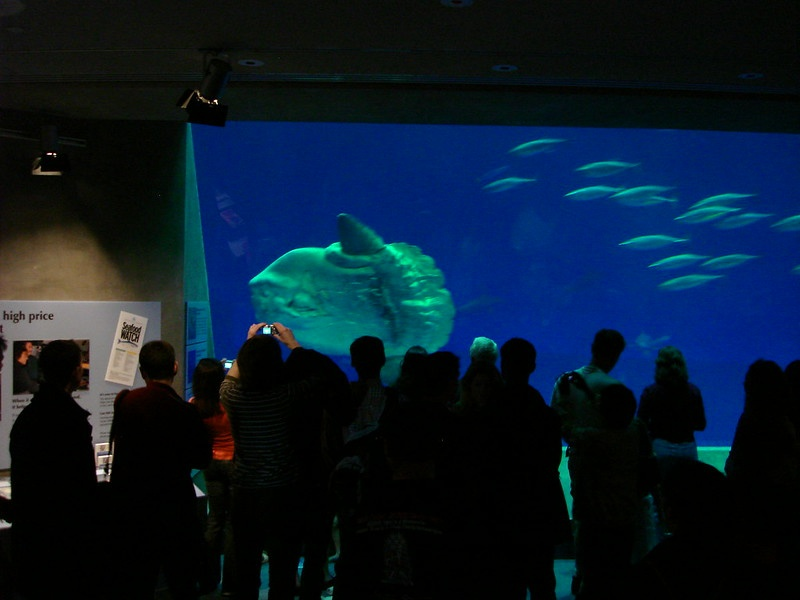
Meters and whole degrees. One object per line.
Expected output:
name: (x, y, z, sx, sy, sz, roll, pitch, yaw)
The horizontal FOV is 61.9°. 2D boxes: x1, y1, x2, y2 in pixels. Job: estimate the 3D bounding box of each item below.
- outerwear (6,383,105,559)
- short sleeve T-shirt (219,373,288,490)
outerwear: (-2.002, 0.997, 3.867, 0.509, 0.986, 0.243, 5, -9, -19)
short sleeve T-shirt: (-0.901, 0.815, 4.243, 0.422, 0.601, 0.426, 4, 5, 15)
